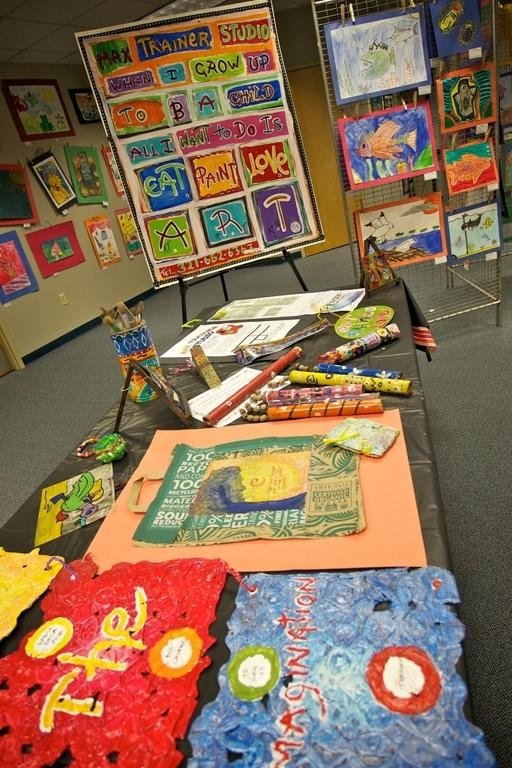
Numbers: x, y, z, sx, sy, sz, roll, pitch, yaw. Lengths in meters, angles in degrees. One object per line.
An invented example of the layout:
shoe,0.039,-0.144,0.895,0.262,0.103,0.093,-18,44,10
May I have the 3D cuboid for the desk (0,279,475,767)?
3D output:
desk,0.037,0.333,1.109,0.576,0.254,1.098,-3,44,14
